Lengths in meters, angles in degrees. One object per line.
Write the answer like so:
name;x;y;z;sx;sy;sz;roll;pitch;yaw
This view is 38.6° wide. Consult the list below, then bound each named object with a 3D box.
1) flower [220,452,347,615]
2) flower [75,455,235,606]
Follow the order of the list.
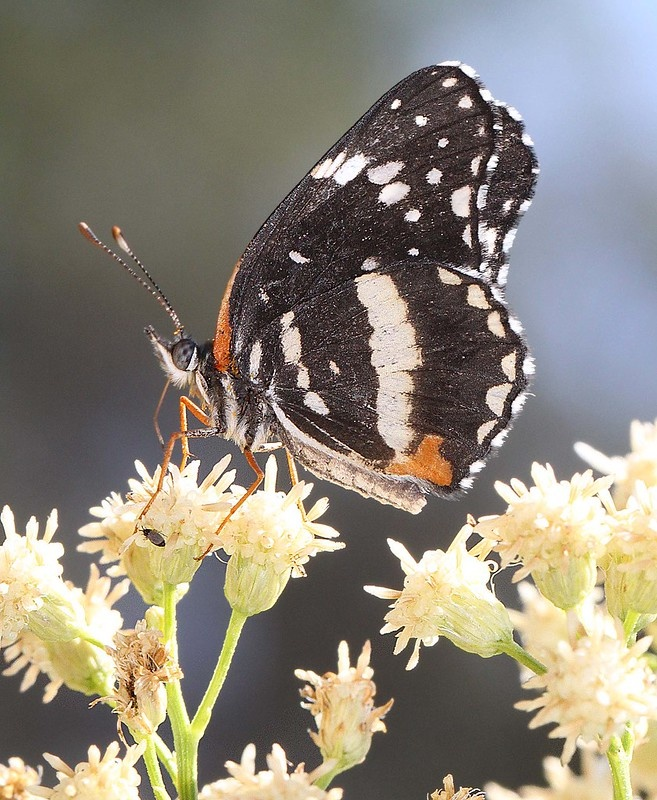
flower;-0.067;0.168;1.228;0.174;0.168;0.157;30;-90;3
flower;-0.186;0.169;1.201;0.207;0.140;0.194;-5;-22;17
